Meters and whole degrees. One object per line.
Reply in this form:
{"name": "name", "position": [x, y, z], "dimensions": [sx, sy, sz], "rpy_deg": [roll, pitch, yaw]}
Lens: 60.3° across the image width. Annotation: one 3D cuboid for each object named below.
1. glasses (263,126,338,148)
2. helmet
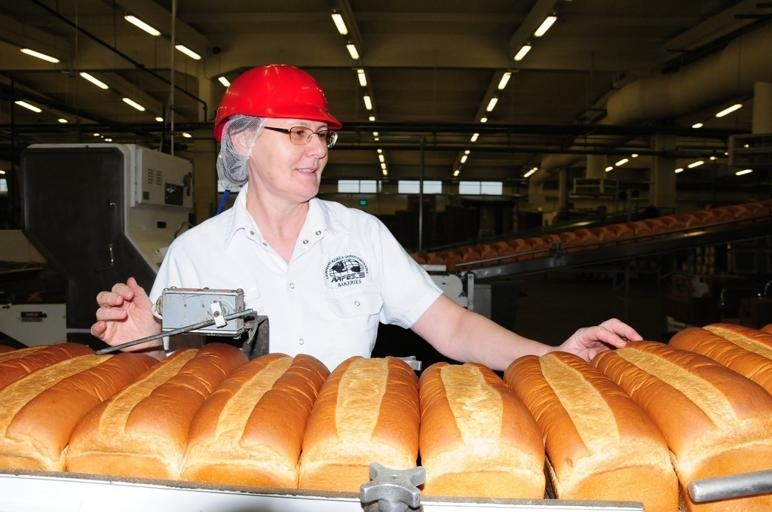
{"name": "glasses", "position": [-0.393, -0.618, 3.331], "dimensions": [0.182, 0.055, 0.174], "rpy_deg": [2, 1, 43]}
{"name": "helmet", "position": [-0.516, -0.849, 3.562], "dimensions": [0.473, 0.322, 0.657], "rpy_deg": [0, -1, 1]}
